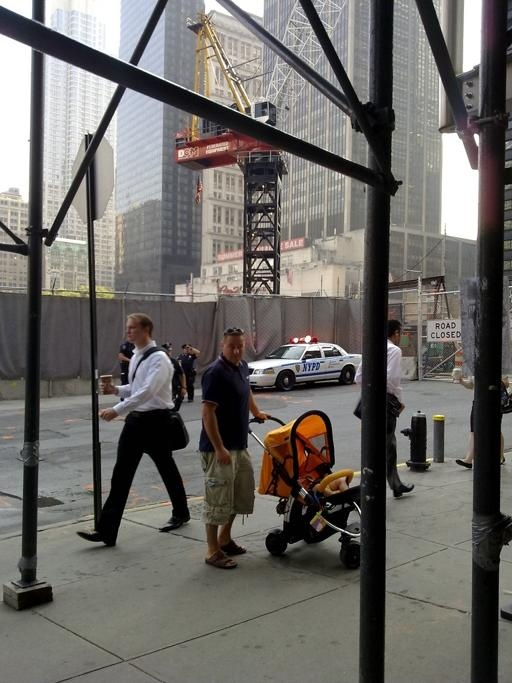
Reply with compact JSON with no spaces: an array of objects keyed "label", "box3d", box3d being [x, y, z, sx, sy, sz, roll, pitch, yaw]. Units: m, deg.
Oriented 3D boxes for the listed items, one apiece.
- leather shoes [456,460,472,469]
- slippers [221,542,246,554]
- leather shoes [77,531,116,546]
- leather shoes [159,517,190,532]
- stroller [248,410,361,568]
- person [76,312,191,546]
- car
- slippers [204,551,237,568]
[{"label":"leather shoes","box3d":[2.307,1.363,8.628,0.168,0.070,0.060,27,2,38]},{"label":"slippers","box3d":[-0.164,1.458,5.503,0.197,0.089,0.072,0,1,10]},{"label":"leather shoes","box3d":[-1.179,1.436,5.737,0.268,0.117,0.262,0,1,-11]},{"label":"leather shoes","box3d":[-0.653,1.461,6.179,0.081,0.098,0.244,-10,-13,43]},{"label":"stroller","box3d":[0.367,0.977,5.406,0.598,1.163,1.067,3,-6,-45]},{"label":"person","box3d":[-0.877,0.635,5.885,0.738,1.719,0.813,0,0,-6]},{"label":"car","box3d":[1.016,0.554,20.978,1.290,1.122,3.088,-3,-2,44]},{"label":"slippers","box3d":[-0.224,1.439,5.149,0.159,0.076,0.092,-2,-2,37]}]
